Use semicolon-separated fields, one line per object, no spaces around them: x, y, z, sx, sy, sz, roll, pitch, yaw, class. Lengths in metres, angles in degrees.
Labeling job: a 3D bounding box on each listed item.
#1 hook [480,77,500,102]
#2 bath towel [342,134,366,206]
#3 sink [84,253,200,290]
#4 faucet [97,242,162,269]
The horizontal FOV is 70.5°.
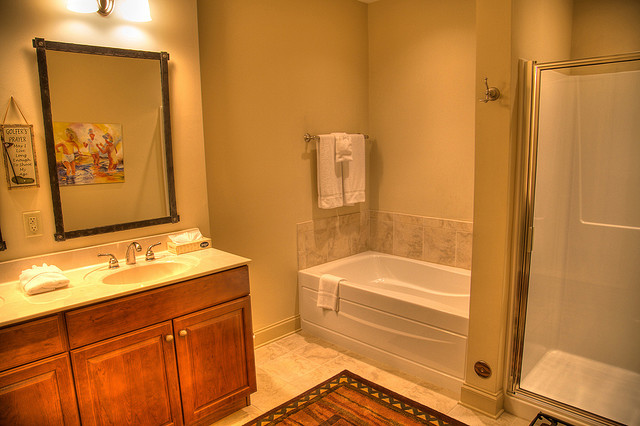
1.143;-0.830;3.030;0.110;0.161;0.042;9;16;38;hook
0.350;-0.424;4.452;0.087;0.649;0.275;-8;18;-37;bath towel
-1.205;0.426;3.113;0.738;0.144;0.529;-7;14;-27;sink
-1.316;0.283;3.160;0.438;0.196;0.192;-11;19;-28;faucet
